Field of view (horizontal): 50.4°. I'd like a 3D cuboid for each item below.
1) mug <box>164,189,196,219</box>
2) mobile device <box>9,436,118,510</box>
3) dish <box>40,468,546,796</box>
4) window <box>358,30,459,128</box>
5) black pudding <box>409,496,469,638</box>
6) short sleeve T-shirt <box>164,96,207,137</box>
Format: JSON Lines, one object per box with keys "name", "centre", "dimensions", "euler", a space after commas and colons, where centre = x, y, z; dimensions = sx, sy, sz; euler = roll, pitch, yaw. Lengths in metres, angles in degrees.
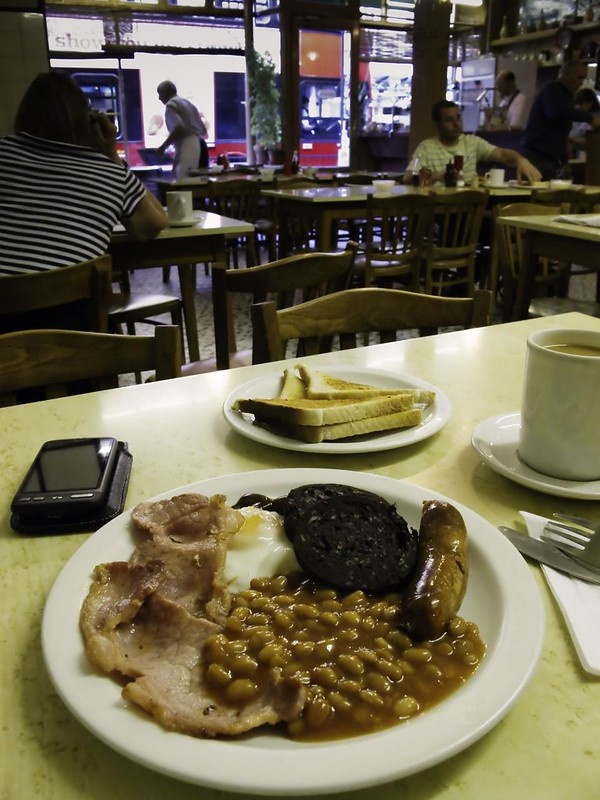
{"name": "mug", "centre": [-0.526, -0.848, 2.750], "dimensions": [0.088, 0.098, 0.143], "euler": [1, 23, -3]}
{"name": "mobile device", "centre": [-0.209, 0.060, 0.564], "dimensions": [0.071, 0.118, 0.013], "euler": [0, 52, -33]}
{"name": "dish", "centre": [0.000, 0.125, 0.377], "dimensions": [0.299, 0.028, 0.247], "euler": [-3, 19, -6]}
{"name": "window", "centre": [1.643, -5.031, 10.090], "dimensions": [1.587, 1.814, 0.178], "euler": [9, 55, 14]}
{"name": "black pudding", "centre": [0.090, 0.106, 0.403], "dimensions": [0.033, 0.032, 0.115], "euler": [-5, 22, 19]}
{"name": "short sleeve T-shirt", "centre": [-1.293, -3.061, 6.940], "dimensions": [0.292, 0.407, 0.489], "euler": [5, 20, 19]}
